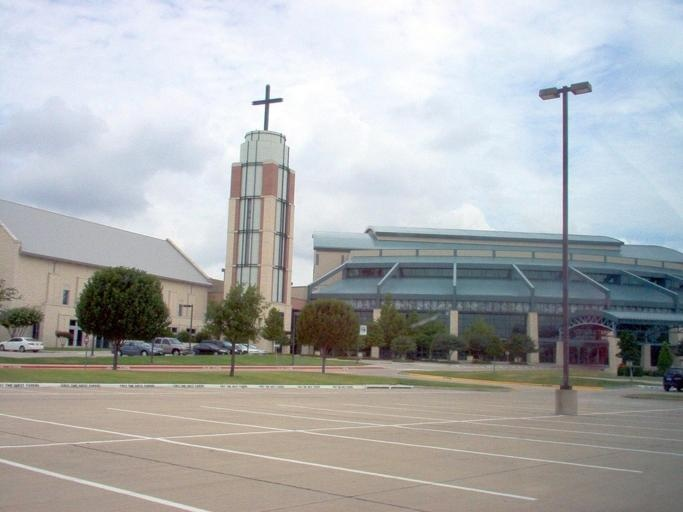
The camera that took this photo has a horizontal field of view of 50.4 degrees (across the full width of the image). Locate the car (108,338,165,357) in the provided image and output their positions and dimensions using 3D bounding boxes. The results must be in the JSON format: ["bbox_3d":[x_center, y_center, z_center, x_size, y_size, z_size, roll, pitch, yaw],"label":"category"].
[{"bbox_3d":[-17.238,7.954,62.312,3.742,1.317,4.313,3,-9,-12],"label":"car"}]
